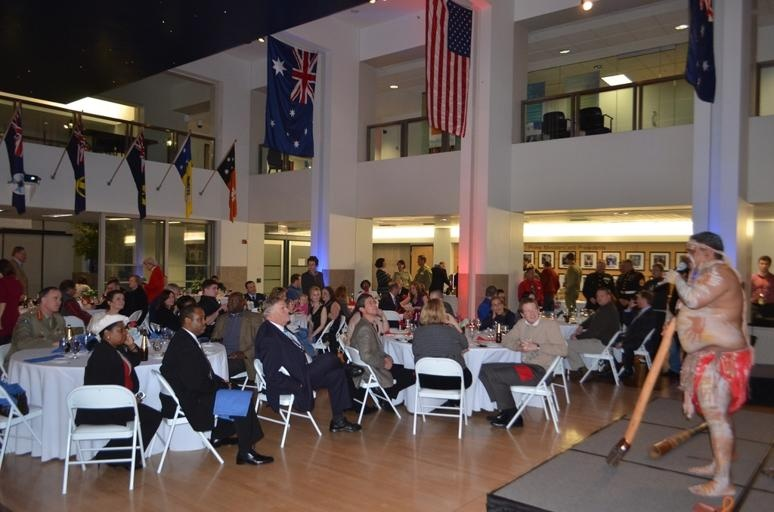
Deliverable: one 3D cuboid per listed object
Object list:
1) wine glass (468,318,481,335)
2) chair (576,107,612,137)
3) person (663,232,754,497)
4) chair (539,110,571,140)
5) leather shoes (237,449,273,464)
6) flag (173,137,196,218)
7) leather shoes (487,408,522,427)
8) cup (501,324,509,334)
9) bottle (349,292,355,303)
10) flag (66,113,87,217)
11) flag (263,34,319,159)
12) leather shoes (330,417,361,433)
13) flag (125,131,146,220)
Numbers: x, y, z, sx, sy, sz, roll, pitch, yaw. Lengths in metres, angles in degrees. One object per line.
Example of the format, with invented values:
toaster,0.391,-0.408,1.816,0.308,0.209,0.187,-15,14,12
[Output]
wine glass,1.443,1.173,9.837,0.123,0.199,0.482,-1,-4,10
chair,4.305,-2.771,12.442,0.517,0.767,0.591,-2,13,16
person,3.206,1.074,5.922,0.669,2.498,0.757,-10,15,-35
chair,3.685,-2.790,12.894,0.499,0.732,0.555,5,6,39
leather shoes,-1.484,2.256,6.799,0.432,0.207,0.163,-2,-4,4
flag,-4.778,-1.887,14.214,0.387,1.953,1.377,-5,13,-17
leather shoes,1.584,2.134,7.893,0.509,0.249,0.203,6,-2,11
cup,1.726,1.083,8.838,0.114,0.124,0.117,0,6,0
bottle,-0.809,1.008,14.351,0.167,0.347,0.178,-1,2,0
flag,-6.422,-1.857,12.456,0.361,2.025,0.847,-8,14,-27
flag,-2.068,-3.325,12.658,0.531,2.462,1.709,4,13,21
leather shoes,-0.527,2.128,7.579,0.343,0.170,0.178,0,-4,-6
flag,-5.518,-1.769,13.306,0.363,1.842,0.829,-6,13,-22
